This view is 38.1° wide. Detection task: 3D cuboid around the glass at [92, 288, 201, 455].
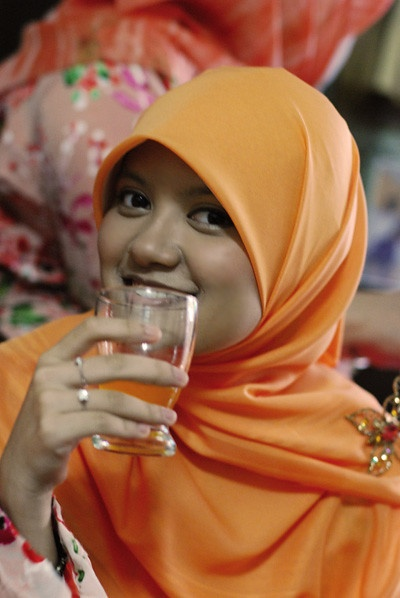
[{"bbox_3d":[-0.070,0.091,0.703,0.123,0.190,0.155,2,46,0],"label":"glass"}]
